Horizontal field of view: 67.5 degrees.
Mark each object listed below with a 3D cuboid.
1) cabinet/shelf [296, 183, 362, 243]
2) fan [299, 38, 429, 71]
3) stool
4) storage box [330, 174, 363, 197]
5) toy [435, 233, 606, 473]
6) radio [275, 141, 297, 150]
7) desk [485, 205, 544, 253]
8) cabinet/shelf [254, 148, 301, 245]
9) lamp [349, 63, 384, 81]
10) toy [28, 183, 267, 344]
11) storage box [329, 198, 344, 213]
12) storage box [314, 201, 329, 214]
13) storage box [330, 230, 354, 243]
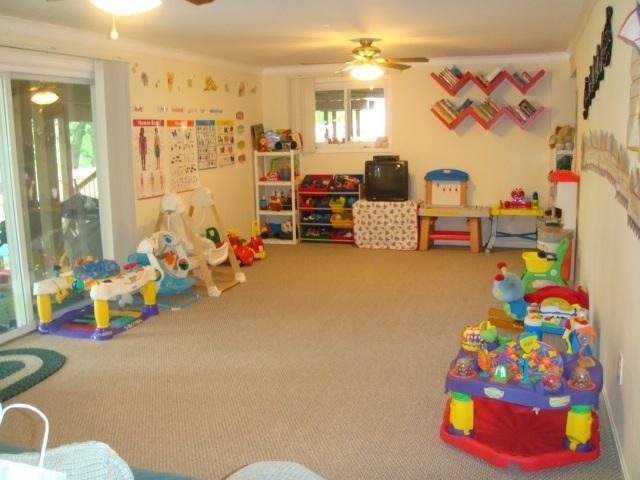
[{"bbox_3d":[0.166,-0.448,7.670,0.903,0.882,0.327,1,10,10],"label":"cabinet/shelf"},{"bbox_3d":[0.502,-2.067,5.279,1.234,0.314,1.311,18,34,42],"label":"fan"},{"bbox_3d":[2.005,-0.160,7.288,0.998,0.648,0.611,2,6,8],"label":"stool"},{"bbox_3d":[0.425,-0.885,7.700,0.524,0.298,0.407,0,14,5],"label":"storage box"},{"bbox_3d":[1.303,0.602,3.335,1.189,1.371,1.254,-8,9,-44],"label":"toy"},{"bbox_3d":[-0.540,-1.472,7.508,0.241,0.096,0.175,6,10,44],"label":"radio"},{"bbox_3d":[2.879,-0.218,7.127,0.811,0.711,0.705,2,10,16],"label":"desk"},{"bbox_3d":[-0.742,-0.553,7.944,0.317,0.870,0.459,-15,6,12],"label":"cabinet/shelf"},{"bbox_3d":[0.494,-1.775,5.185,0.318,0.169,0.322,0,5,2],"label":"lamp"},{"bbox_3d":[-1.813,0.158,5.016,1.098,0.999,1.918,6,12,28],"label":"toy"},{"bbox_3d":[0.278,-0.549,7.635,0.262,0.244,0.201,0,14,4],"label":"storage box"},{"bbox_3d":[0.033,-0.520,7.726,0.290,0.243,0.293,0,14,3],"label":"storage box"},{"bbox_3d":[0.369,-0.066,7.728,0.253,0.084,0.255,2,19,8],"label":"storage box"}]
